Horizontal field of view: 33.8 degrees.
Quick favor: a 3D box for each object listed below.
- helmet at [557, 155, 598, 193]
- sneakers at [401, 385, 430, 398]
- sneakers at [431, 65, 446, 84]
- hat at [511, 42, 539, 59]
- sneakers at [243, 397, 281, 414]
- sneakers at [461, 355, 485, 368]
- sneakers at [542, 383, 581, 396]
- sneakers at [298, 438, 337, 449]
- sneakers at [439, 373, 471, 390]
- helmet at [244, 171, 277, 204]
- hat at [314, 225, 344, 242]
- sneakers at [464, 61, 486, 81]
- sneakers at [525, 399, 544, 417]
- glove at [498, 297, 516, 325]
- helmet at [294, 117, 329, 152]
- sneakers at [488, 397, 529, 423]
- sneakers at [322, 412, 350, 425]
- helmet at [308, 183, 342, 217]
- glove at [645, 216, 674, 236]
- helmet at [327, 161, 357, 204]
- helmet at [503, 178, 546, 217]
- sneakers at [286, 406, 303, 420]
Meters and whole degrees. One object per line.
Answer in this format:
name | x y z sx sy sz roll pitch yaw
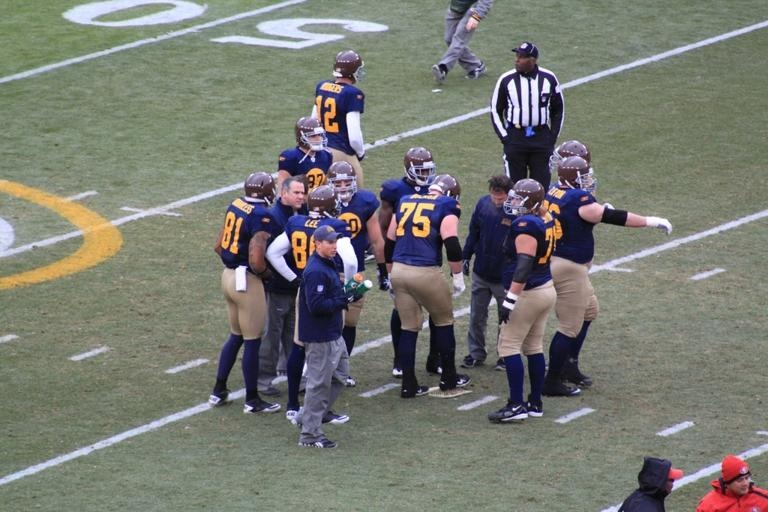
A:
helmet | 2.022 -0.854 13.534 0.494 0.259 0.312 1 7 -2
sneakers | 0.342 1.451 13.616 0.353 0.105 0.109 -8 21 -34
sneakers | 0.894 -2.901 20.024 0.155 0.156 0.363 15 -21 32
hat | 1.753 -2.562 15.639 0.242 0.168 0.248 -9 27 -9
sneakers | -1.296 1.592 13.313 0.481 0.133 0.141 -1 8 -9
sneakers | 0.965 1.195 14.119 0.296 0.093 0.117 0 3 -35
sneakers | 1.876 1.431 13.582 0.473 0.125 0.135 -1 15 1
sneakers | -0.655 1.900 12.758 0.401 0.106 0.118 0 3 3
sneakers | 0.774 1.360 13.725 0.431 0.131 0.124 -8 32 -27
helmet | -1.308 -0.754 13.418 0.327 0.256 0.377 14 15 24
hat | -0.547 -0.227 12.636 0.265 0.086 0.160 2 9 12
sneakers | 1.494 -3.014 20.443 0.458 0.154 0.200 -35 76 -33
sneakers | 1.578 1.606 13.171 0.119 0.087 0.250 -1 9 2
glove | 1.241 0.564 12.965 0.114 0.250 0.199 35 8 -7
helmet | -0.768 -1.434 14.517 0.478 0.288 0.371 25 41 35
sneakers | 1.312 1.619 13.107 0.438 0.204 0.176 -11 30 -16
sneakers | -0.500 1.708 13.144 0.314 0.081 0.106 0 8 -3
helmet | -0.600 -0.572 13.114 0.284 0.322 0.331 12 33 27
glove | 2.931 -0.337 13.443 0.303 0.114 0.345 17 0 17
helmet | -0.431 -0.770 13.424 0.365 0.319 0.408 -8 -14 -8
helmet | 1.425 -0.624 13.016 0.509 0.270 0.308 -11 15 -16
sneakers | -0.939 1.655 13.138 0.106 0.079 0.236 1 4 3
